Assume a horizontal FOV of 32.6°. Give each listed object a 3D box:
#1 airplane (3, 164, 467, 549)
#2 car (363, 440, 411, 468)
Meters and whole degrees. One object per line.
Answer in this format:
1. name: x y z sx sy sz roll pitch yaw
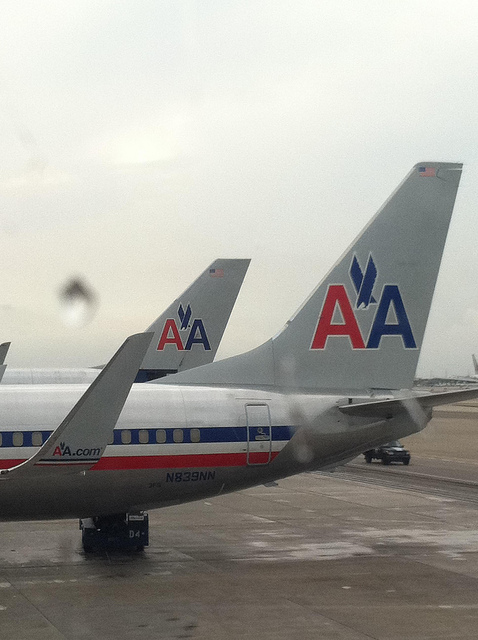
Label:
1. airplane: 0.594 1.610 19.629 11.794 4.250 10.928 -2 0 -10
2. car: 7.960 7.054 44.136 2.278 1.396 3.369 1 -7 -25
